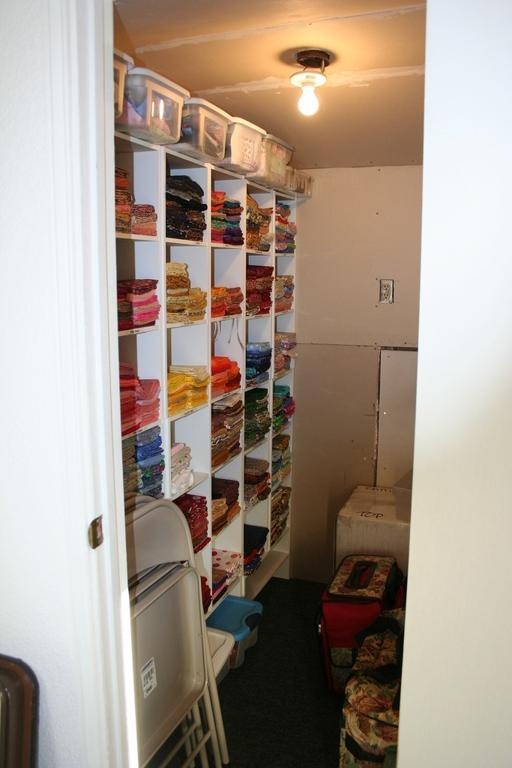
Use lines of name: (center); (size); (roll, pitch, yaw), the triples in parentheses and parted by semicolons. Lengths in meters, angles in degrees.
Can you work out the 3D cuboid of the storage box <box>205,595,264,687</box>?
storage box: (-0.098, 1.232, 2.898); (0.356, 0.185, 0.282); (10, 21, 35)
